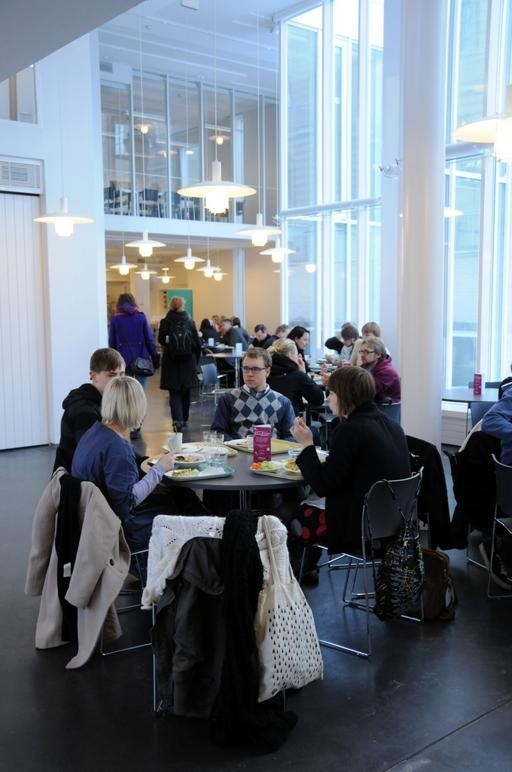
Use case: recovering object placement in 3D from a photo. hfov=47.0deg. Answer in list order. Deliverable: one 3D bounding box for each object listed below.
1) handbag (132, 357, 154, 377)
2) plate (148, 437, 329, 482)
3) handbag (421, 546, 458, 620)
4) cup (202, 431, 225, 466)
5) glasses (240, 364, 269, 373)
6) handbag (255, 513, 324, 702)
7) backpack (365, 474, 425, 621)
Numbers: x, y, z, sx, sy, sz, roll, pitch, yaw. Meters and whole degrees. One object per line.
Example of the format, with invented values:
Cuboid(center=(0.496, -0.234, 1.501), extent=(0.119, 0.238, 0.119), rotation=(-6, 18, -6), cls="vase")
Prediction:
Cuboid(center=(-1.214, -0.195, 6.409), extent=(0.071, 0.214, 0.202), rotation=(-10, -18, 41), cls="handbag")
Cuboid(center=(-0.014, 0.306, 2.488), extent=(0.581, 0.114, 0.609), rotation=(-1, 0, 13), cls="plate")
Cuboid(center=(0.790, 0.841, 2.527), extent=(0.144, 0.265, 0.219), rotation=(0, 0, 19), cls="handbag")
Cuboid(center=(-0.189, 0.270, 2.566), extent=(0.098, 0.172, 0.104), rotation=(-1, -1, 0), cls="cup")
Cuboid(center=(0.004, -0.089, 3.215), extent=(0.119, 0.034, 0.068), rotation=(0, 0, -11), cls="glasses")
Cuboid(center=(0.084, 0.638, 1.692), extent=(0.129, 0.573, 0.306), rotation=(0, 0, 30), cls="handbag")
Cuboid(center=(0.525, 0.591, 2.196), extent=(0.132, 0.524, 0.391), rotation=(0, 0, 38), cls="backpack")
